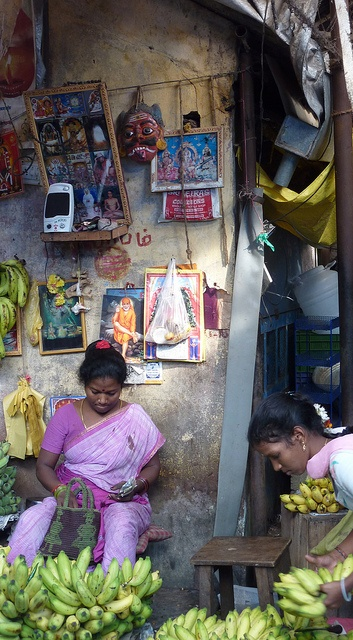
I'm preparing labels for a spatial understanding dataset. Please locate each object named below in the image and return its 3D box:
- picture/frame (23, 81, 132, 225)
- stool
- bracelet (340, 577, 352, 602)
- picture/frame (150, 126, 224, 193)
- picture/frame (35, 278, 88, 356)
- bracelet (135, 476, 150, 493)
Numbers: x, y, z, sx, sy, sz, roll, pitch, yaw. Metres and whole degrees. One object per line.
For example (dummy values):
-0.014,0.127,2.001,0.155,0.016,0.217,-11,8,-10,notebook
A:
-0.672,-1.131,3.513,0.576,0.977,0.045,-9,-9,-17,picture/frame
0.258,1.180,2.436,0.297,0.248,0.299,-14,-9,-26,stool
0.502,0.810,1.539,0.015,0.063,0.044,-4,17,4,bracelet
0.088,-1.097,3.510,0.423,0.380,0.034,1,-3,8,picture/frame
-0.829,-0.011,3.777,0.465,0.821,0.032,-3,-2,14,picture/frame
-0.199,0.994,3.107,0.045,0.087,0.071,2,-8,-2,bracelet
